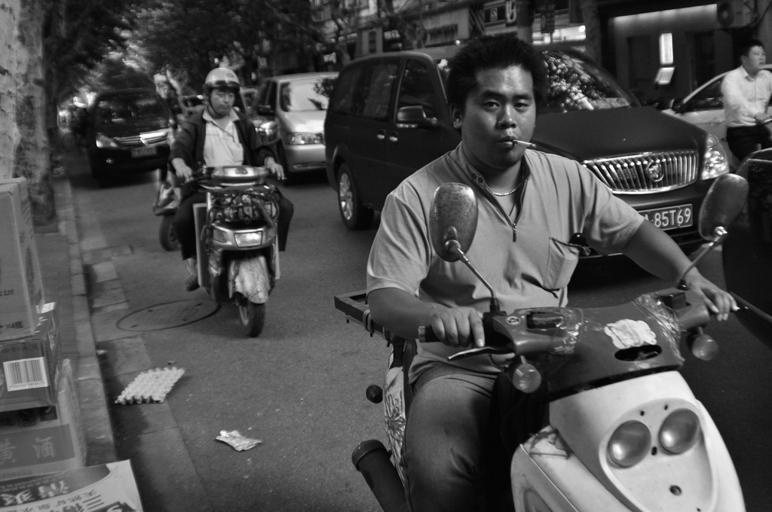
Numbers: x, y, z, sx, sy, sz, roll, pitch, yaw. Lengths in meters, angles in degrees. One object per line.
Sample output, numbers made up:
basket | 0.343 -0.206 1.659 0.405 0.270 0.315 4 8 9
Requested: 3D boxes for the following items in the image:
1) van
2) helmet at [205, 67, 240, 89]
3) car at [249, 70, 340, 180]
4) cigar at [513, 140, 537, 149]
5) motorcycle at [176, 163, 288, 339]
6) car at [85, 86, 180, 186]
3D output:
van | 1.262 -1.656 8.386 2.986 2.281 5.499 -12 15 -30
helmet | -1.774 -1.895 6.583 0.350 0.258 0.286 -8 12 -12
car | -2.115 -3.081 14.134 1.949 1.715 3.358 -4 8 -19
cigar | 0.579 -0.464 2.541 0.058 0.044 0.190 0 14 27
motorcycle | -1.517 -0.067 6.273 0.920 1.675 0.587 2 14 31
car | -6.973 -3.365 16.645 2.173 2.289 2.441 -9 12 -18
